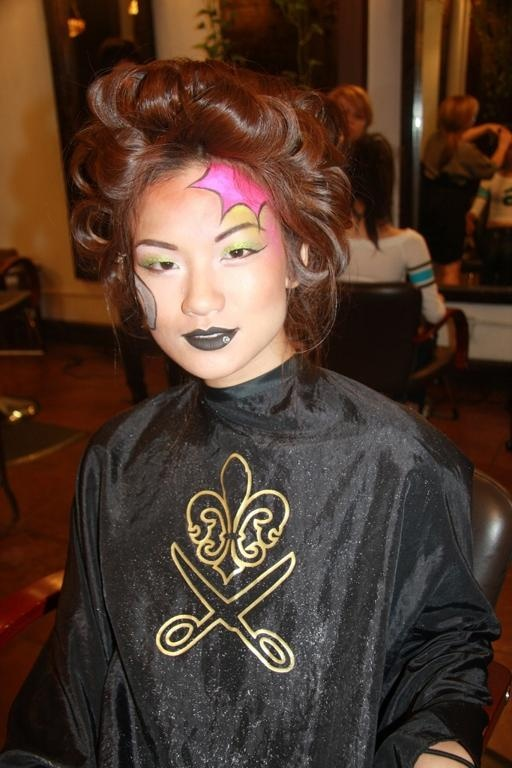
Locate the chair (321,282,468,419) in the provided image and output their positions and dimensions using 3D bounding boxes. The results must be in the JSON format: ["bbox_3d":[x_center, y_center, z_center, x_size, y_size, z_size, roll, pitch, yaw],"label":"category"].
[{"bbox_3d":[0.312,-0.076,1.366,0.239,0.308,0.258,17,34,37],"label":"chair"}]
